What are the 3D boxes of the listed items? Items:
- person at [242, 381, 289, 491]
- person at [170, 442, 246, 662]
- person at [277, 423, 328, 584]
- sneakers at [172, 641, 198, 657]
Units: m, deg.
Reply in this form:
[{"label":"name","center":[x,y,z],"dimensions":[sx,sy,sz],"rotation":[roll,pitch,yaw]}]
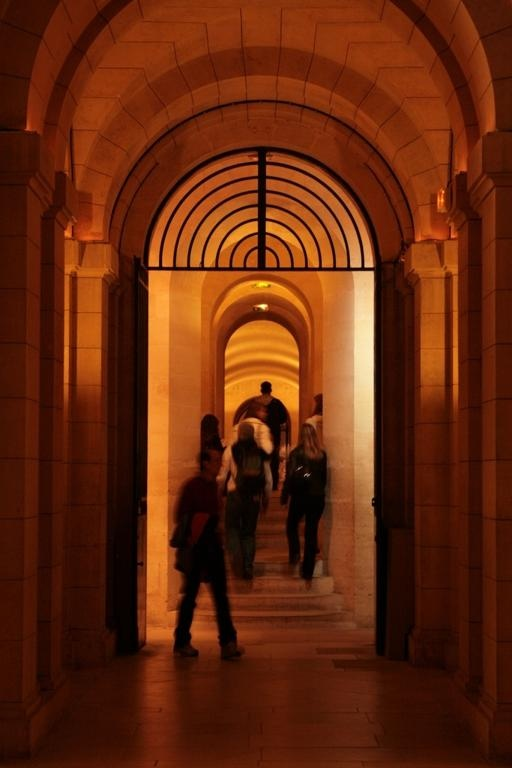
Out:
[{"label":"person","center":[0.155,0.672,13.557],"dimensions":[0.511,1.850,0.487],"rotation":[-1,31,-2]},{"label":"person","center":[-0.369,1.235,6.499],"dimensions":[0.506,1.511,0.511],"rotation":[0,-5,3]},{"label":"person","center":[0.461,1.152,8.768],"dimensions":[0.433,1.548,0.957],"rotation":[0,-5,1]},{"label":"sneakers","center":[-0.527,1.960,6.641],"dimensions":[0.182,0.115,0.078],"rotation":[-4,-6,24]}]
